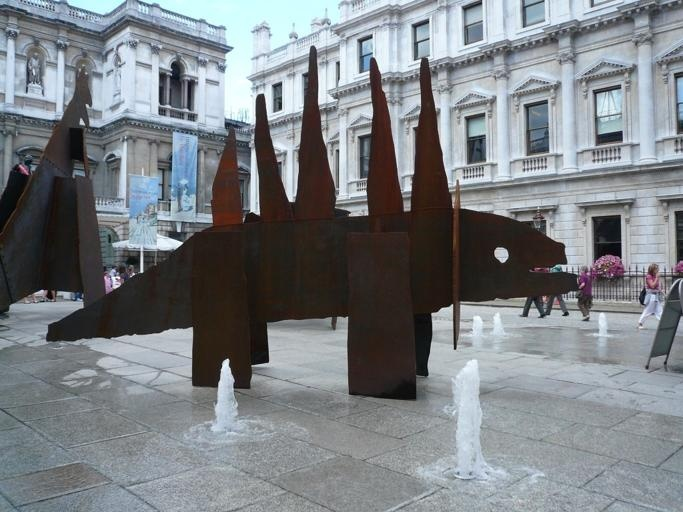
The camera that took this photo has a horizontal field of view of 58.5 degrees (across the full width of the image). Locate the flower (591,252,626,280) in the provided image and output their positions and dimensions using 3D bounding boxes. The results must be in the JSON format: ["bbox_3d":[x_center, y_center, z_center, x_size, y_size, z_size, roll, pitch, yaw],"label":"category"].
[{"bbox_3d":[9.821,0.431,22.580,0.787,0.582,1.004,-5,1,-35],"label":"flower"}]

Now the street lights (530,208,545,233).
[{"bbox_3d":[8.136,-1.483,25.020,0.542,0.948,0.571,3,9,14],"label":"street lights"}]
